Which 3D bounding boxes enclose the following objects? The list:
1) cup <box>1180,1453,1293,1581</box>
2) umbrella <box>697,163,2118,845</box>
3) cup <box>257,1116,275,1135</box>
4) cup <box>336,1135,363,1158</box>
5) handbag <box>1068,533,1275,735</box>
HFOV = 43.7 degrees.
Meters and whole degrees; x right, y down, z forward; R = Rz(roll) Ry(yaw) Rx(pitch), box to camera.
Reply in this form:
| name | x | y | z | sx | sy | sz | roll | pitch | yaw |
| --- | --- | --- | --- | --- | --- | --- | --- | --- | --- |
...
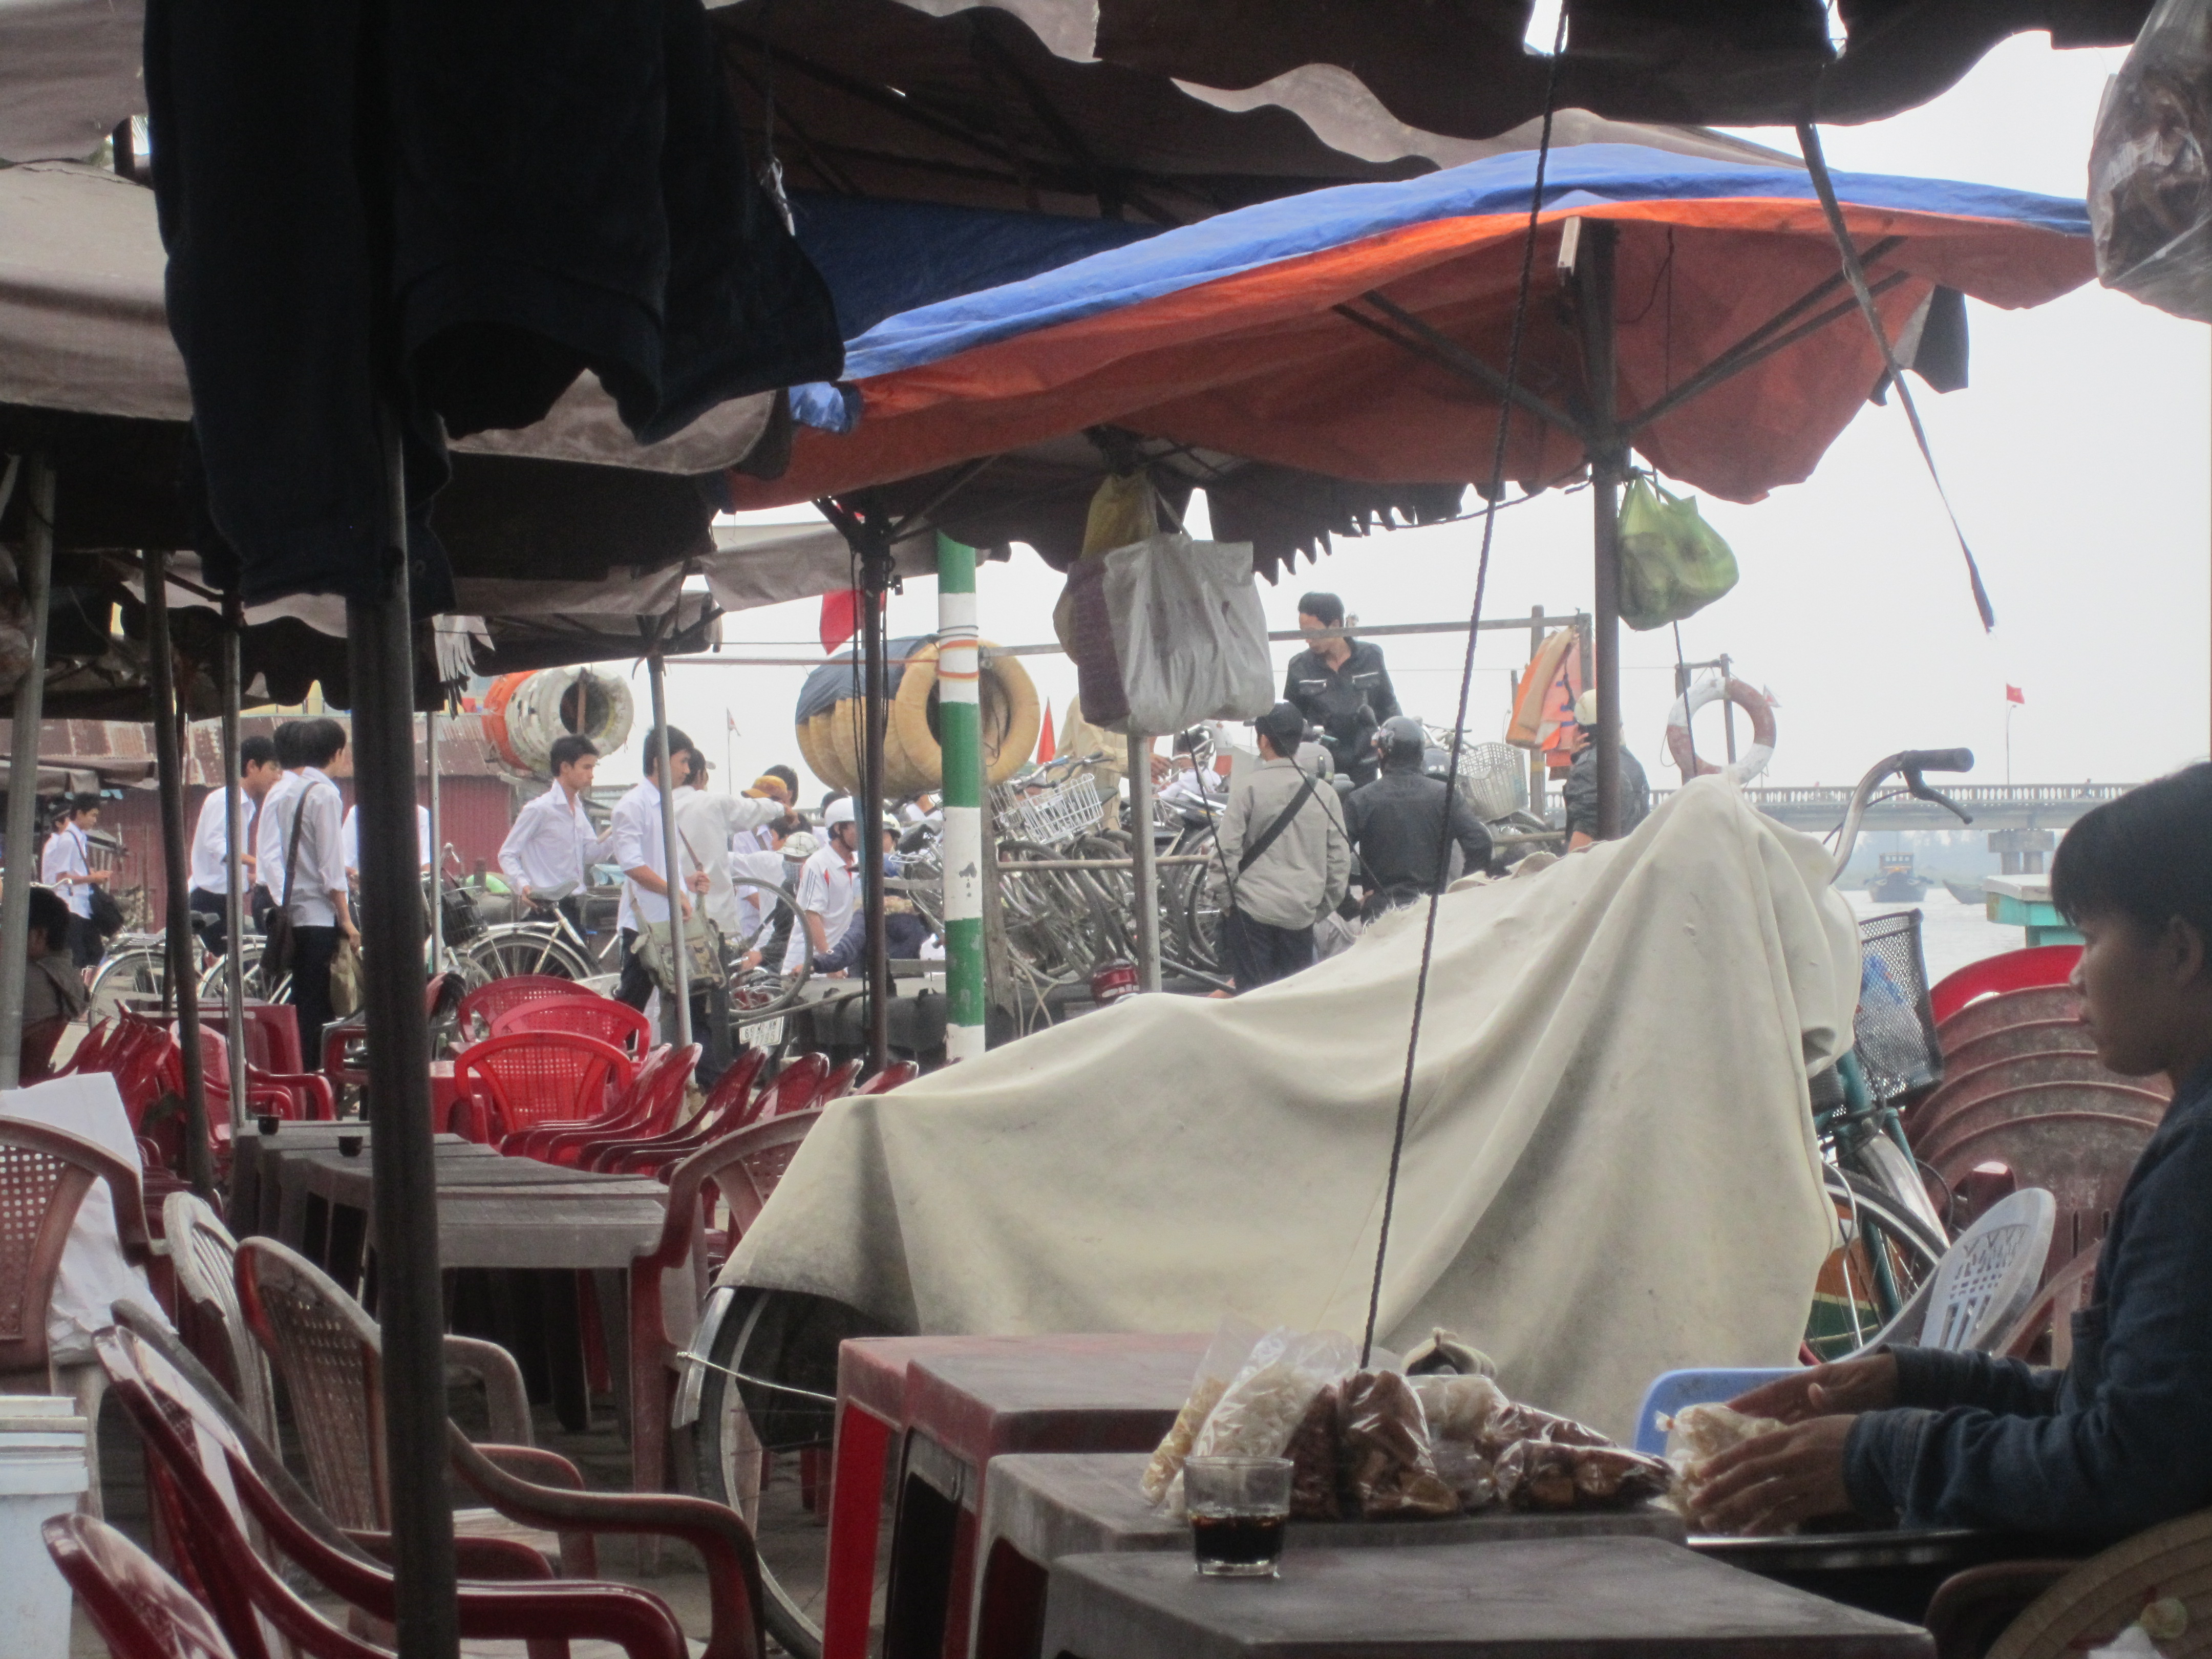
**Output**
| name | x | y | z | sx | sy | sz | roll | pitch | yaw |
| --- | --- | --- | --- | --- | --- | --- | --- | --- | --- |
| cup | 0.153 | 0.855 | 3.433 | 0.118 | 0.122 | 0.116 | -1 | -8 | 0 |
| umbrella | 0.560 | -0.977 | 7.661 | 3.194 | 2.052 | 3.455 | -1 | -1 | -18 |
| cup | -2.350 | 0.828 | 7.719 | 0.040 | 0.052 | 0.083 | -3 | -8 | -5 |
| cup | -1.995 | 0.830 | 7.267 | 0.056 | 0.050 | 0.062 | 0 | -12 | 1 |
| handbag | 0.149 | -0.614 | 9.364 | 0.618 | 1.093 | 0.685 | -2 | 1 | -40 |
